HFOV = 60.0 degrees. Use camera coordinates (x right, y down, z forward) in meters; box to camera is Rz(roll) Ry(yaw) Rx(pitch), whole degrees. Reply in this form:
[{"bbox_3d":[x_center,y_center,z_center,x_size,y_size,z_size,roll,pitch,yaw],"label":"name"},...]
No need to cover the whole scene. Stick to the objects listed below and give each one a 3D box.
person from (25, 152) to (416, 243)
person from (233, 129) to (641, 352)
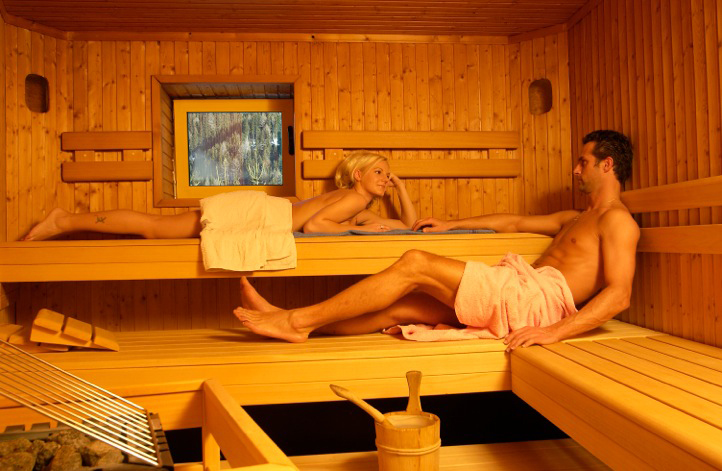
[{"bbox_3d":[-0.925,-0.237,4.030,1.994,0.498,0.477,0,22,-17],"label":"person"},{"bbox_3d":[0.449,-0.011,3.475,2.205,1.211,1.179,0,-7,3],"label":"person"}]
